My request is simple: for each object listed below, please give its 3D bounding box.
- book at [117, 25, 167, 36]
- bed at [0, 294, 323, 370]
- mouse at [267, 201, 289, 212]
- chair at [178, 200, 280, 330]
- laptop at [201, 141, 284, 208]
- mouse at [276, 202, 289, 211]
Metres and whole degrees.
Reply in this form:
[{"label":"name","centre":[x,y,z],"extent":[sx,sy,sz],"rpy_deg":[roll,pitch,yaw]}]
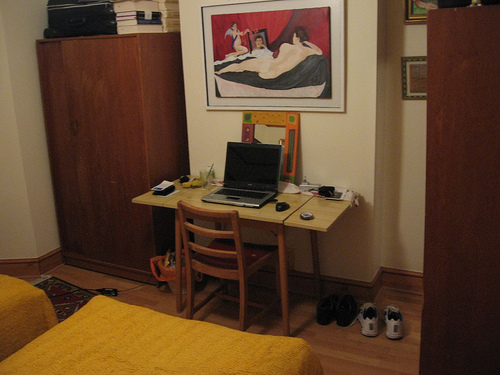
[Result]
[{"label":"book","centre":[-0.933,-1.302,3.414],"extent":[0.193,0.046,0.196],"rpy_deg":[12,28,32]},{"label":"bed","centre":[-0.428,0.793,2.019],"extent":[1.413,0.103,0.535],"rpy_deg":[2,14,15]},{"label":"mouse","centre":[0.226,0.139,2.903],"extent":[0.073,0.042,0.128],"rpy_deg":[10,18,40]},{"label":"chair","centre":[-0.137,0.534,3.146],"extent":[0.699,1.007,0.656],"rpy_deg":[-16,20,-43]},{"label":"laptop","centre":[-0.033,-0.119,3.191],"extent":[0.523,0.413,0.532],"rpy_deg":[4,14,22]},{"label":"mouse","centre":[0.227,0.137,2.907],"extent":[0.121,0.040,0.068],"rpy_deg":[-14,18,-42]}]
